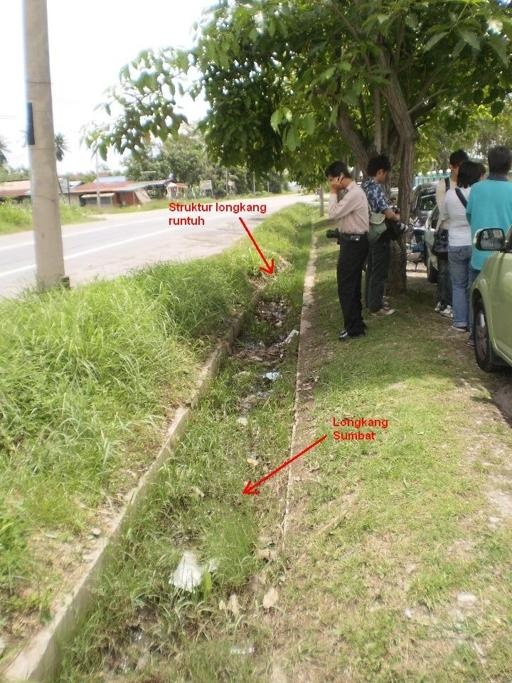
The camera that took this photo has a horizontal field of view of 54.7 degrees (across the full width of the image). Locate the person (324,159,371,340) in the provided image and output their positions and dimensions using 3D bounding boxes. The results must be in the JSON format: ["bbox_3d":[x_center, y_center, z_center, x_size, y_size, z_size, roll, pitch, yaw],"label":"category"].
[{"bbox_3d":[1.076,-1.013,5.760,0.449,2.076,0.683,1,13,17],"label":"person"}]
